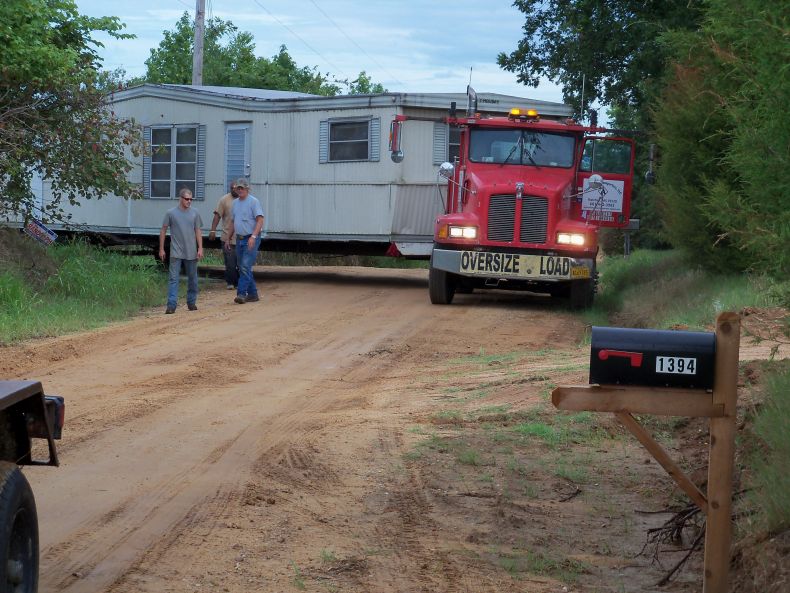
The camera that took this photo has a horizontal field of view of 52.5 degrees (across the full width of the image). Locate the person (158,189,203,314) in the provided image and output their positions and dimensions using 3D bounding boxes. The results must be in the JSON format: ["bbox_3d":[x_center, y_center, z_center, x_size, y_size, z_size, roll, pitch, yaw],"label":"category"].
[{"bbox_3d":[-3.620,-0.782,13.588,0.639,2.055,1.269,-1,10,-14],"label":"person"}]

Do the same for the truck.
[{"bbox_3d":[2.605,-1.446,15.337,2.922,2.488,4.152,2,-3,12],"label":"truck"}]

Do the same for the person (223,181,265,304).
[{"bbox_3d":[-2.704,-1.003,14.620,0.532,2.187,1.239,-1,10,-12],"label":"person"}]

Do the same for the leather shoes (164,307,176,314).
[{"bbox_3d":[-3.692,0.234,13.139,0.063,0.098,0.203,1,5,1],"label":"leather shoes"}]

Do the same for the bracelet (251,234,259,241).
[{"bbox_3d":[-2.513,-1.069,14.352,0.111,0.110,0.210,1,11,-3],"label":"bracelet"}]
